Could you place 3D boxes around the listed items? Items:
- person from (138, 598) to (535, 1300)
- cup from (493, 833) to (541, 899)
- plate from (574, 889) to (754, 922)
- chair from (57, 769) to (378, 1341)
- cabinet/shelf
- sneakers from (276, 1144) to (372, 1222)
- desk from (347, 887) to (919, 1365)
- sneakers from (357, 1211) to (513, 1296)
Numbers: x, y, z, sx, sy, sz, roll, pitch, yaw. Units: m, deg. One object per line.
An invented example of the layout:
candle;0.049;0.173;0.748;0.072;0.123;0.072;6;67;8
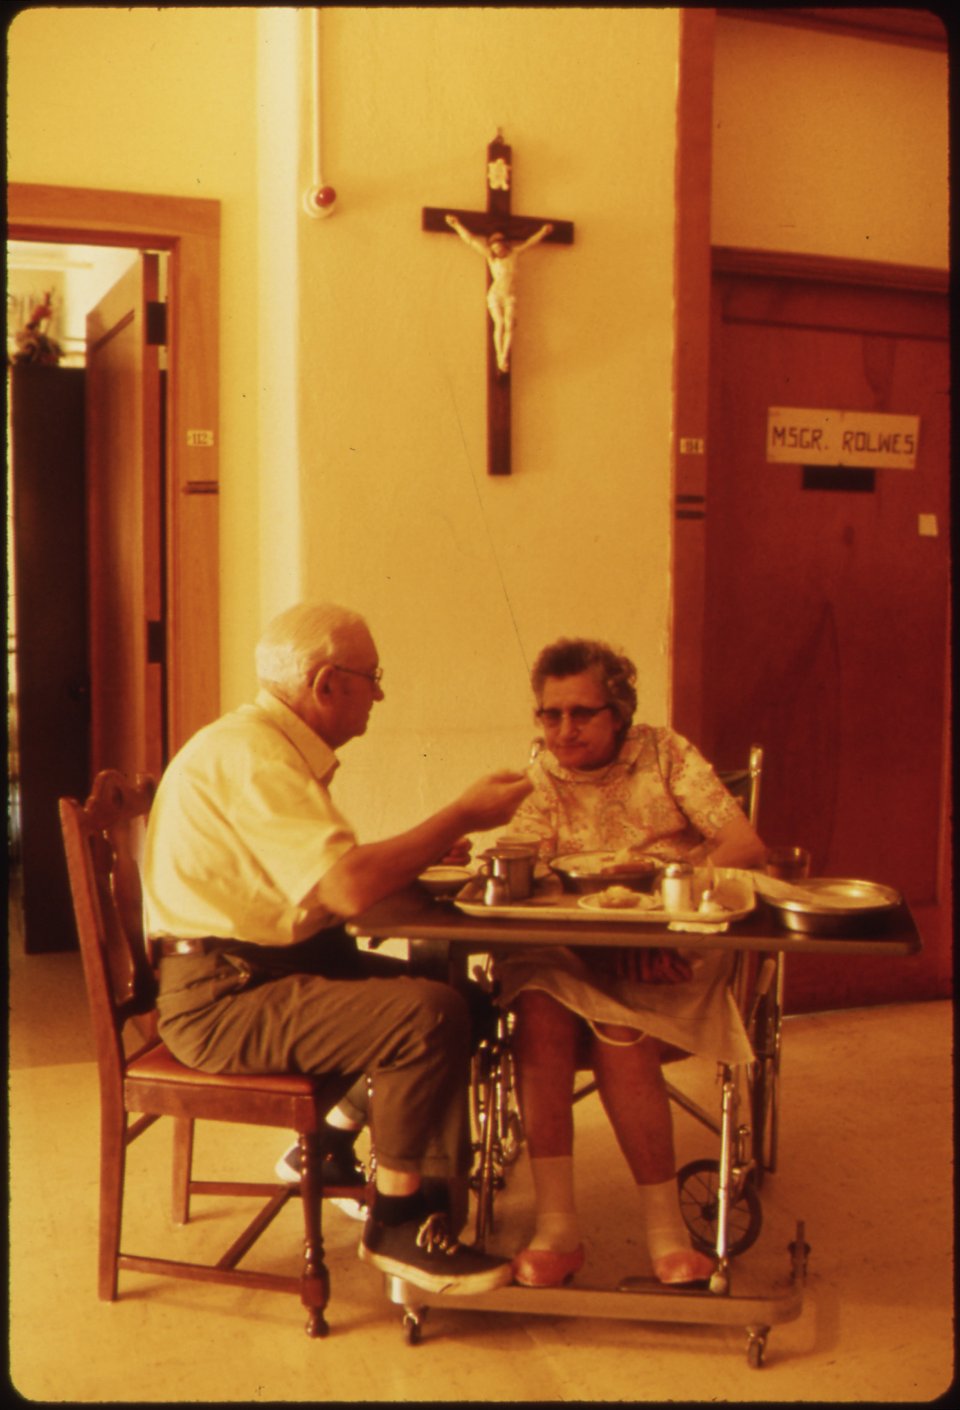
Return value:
person;-0.173;0.372;3.063;0.866;1.639;0.919;-2;2;-9
cup;0.057;0.270;2.432;0.060;0.072;0.078;0;-3;20
plate;0.283;0.317;2.313;0.286;0.032;0.182;1;6;10
chair;-0.439;0.560;2.616;0.549;0.923;0.565;4;9;27
cabinet/shelf;-1.369;-0.143;4.734;0.229;1.852;0.237;-2;7;-18
sneakers;-0.280;0.920;2.862;0.088;0.163;0.229;-2;-23;14
desk;0.296;0.554;2.497;0.819;0.712;0.700;-1;-5;12
sneakers;-0.074;0.871;2.413;0.221;0.115;0.117;5;-11;17
